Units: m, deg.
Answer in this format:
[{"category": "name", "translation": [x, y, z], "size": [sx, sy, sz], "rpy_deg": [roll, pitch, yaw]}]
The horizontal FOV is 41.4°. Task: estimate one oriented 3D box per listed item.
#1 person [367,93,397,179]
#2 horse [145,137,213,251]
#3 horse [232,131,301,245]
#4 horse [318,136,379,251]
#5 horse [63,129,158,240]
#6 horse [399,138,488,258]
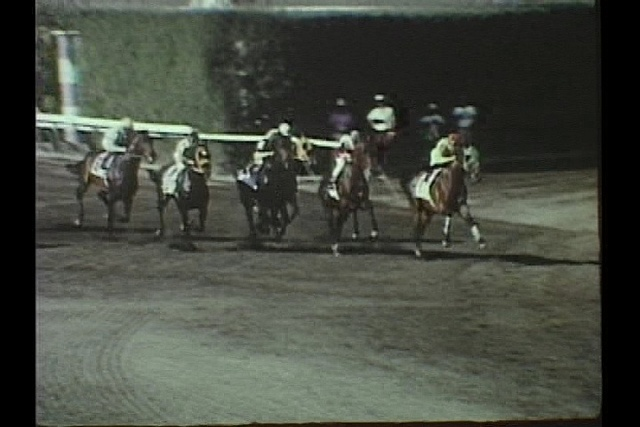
[{"category": "person", "translation": [0.686, -0.899, 9.740], "size": [0.292, 0.874, 0.519], "rpy_deg": [0, 20, -4]}, {"category": "horse", "translation": [-1.680, -0.302, 10.370], "size": [0.562, 1.330, 2.264], "rpy_deg": [-4, 7, -24]}, {"category": "horse", "translation": [-0.615, -0.385, 10.177], "size": [0.465, 1.175, 1.780], "rpy_deg": [-11, 6, -22]}, {"category": "horse", "translation": [0.324, -0.228, 10.162], "size": [0.573, 1.279, 1.925], "rpy_deg": [-8, 0, -15]}, {"category": "horse", "translation": [-2.521, -0.376, 10.087], "size": [0.460, 1.230, 1.896], "rpy_deg": [-3, 10, -45]}, {"category": "horse", "translation": [1.463, -0.221, 9.996], "size": [0.491, 1.319, 1.800], "rpy_deg": [-3, -2, -16]}]
